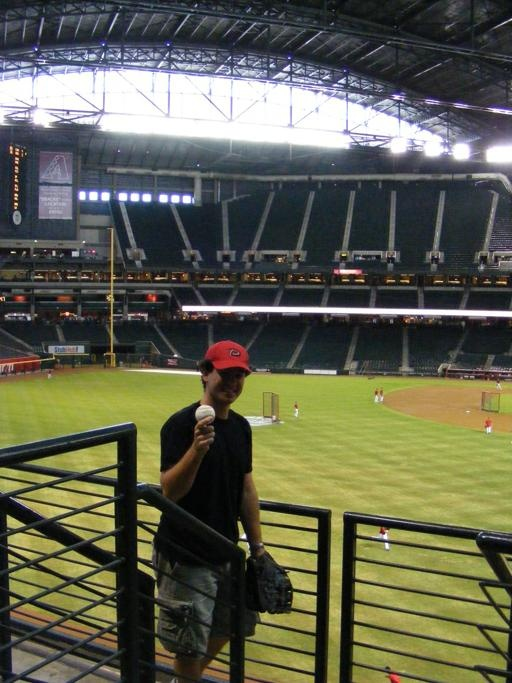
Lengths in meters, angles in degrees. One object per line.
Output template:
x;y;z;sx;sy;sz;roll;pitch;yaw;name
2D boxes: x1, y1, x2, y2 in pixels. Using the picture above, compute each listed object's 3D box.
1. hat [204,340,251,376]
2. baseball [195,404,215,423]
-0.156;0.085;4.297;0.193;0.127;0.254;9;-6;-18;hat
-0.248;0.348;3.598;0.096;0.081;0.089;-1;7;-18;baseball
